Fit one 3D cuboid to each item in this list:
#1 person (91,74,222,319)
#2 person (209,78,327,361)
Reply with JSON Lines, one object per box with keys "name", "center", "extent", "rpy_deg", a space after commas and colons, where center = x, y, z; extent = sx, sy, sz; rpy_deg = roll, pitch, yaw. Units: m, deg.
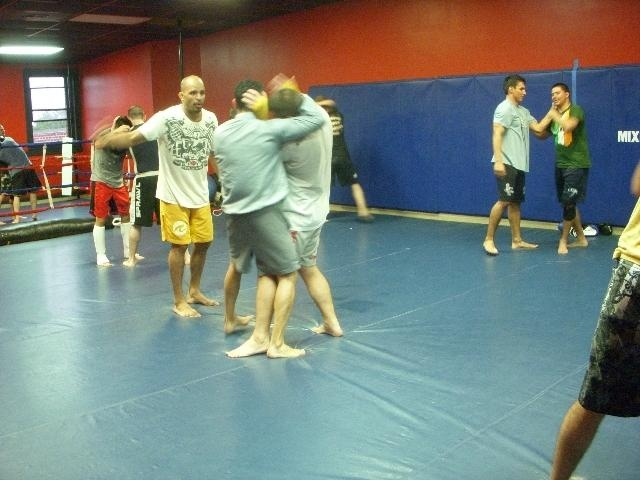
{"name": "person", "center": [-1.264, -0.357, 4.748], "extent": [0.890, 2.038, 0.548], "rpy_deg": [-7, 13, -23]}
{"name": "person", "center": [-0.340, -0.110, 3.754], "extent": [0.726, 1.880, 0.295], "rpy_deg": [-5, 12, -12]}
